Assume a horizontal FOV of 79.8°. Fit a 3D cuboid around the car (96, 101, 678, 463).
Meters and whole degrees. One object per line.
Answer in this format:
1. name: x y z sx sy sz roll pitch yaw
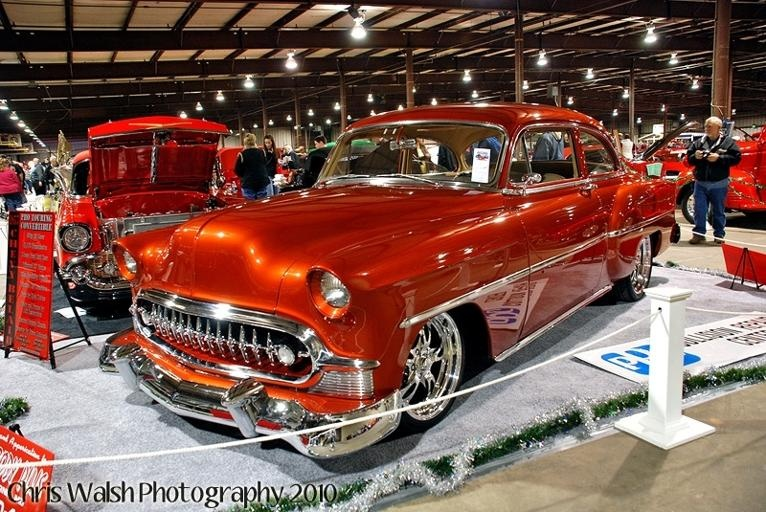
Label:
1. car: 0.783 -0.517 4.692 2.761 1.563 6.051 11 23 43
